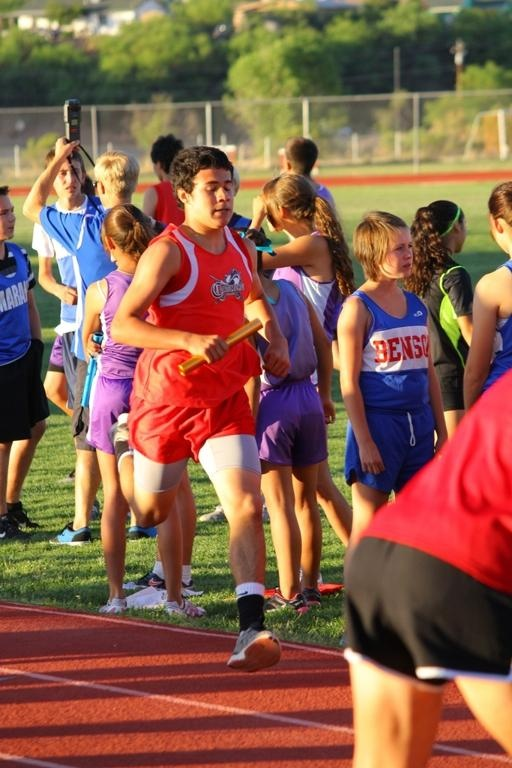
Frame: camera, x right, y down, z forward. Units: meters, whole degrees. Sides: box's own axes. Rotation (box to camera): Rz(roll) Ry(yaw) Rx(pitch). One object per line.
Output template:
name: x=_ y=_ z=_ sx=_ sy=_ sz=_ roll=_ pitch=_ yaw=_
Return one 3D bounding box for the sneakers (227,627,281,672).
sneakers: x=-0.004 y=0.844 z=3.154 sx=0.090 sy=0.092 sz=0.210 roll=22 pitch=-35 yaw=-21

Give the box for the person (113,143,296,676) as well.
person: x=-0.191 y=0.023 z=3.543 sx=0.617 sy=1.718 sz=1.081 roll=-1 pitch=6 yaw=1
